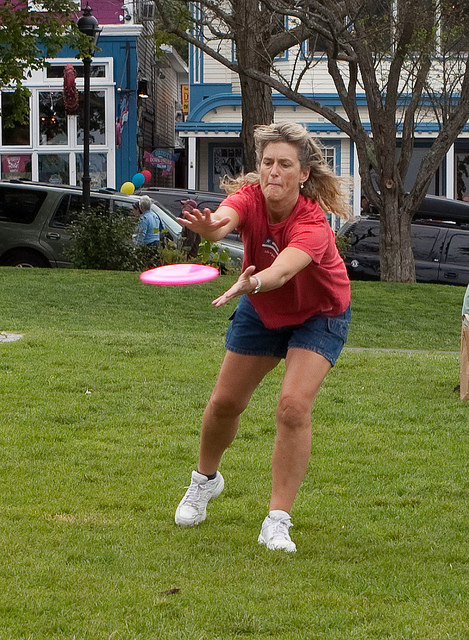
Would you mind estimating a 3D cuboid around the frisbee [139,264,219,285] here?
[{"bbox_3d":[-0.202,-0.162,3.160,0.277,0.080,0.306,2,5,-5],"label":"frisbee"}]

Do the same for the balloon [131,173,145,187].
[{"bbox_3d":[-2.571,-3.685,22.479,0.320,0.315,0.393,24,6,13],"label":"balloon"}]

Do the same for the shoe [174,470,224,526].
[{"bbox_3d":[-0.132,0.763,3.885,0.114,0.161,0.333,17,51,18],"label":"shoe"}]

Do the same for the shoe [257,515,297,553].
[{"bbox_3d":[0.172,0.859,3.511,0.163,0.146,0.150,2,5,2],"label":"shoe"}]

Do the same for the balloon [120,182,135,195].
[{"bbox_3d":[-2.528,-3.138,20.541,0.279,0.256,0.623,1,5,-10],"label":"balloon"}]

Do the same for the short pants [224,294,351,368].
[{"bbox_3d":[0.217,0.037,3.609,0.511,0.279,0.339,3,5,5],"label":"short pants"}]

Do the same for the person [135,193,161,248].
[{"bbox_3d":[-1.362,-1.557,13.810,0.391,0.822,0.570,1,5,-7],"label":"person"}]
